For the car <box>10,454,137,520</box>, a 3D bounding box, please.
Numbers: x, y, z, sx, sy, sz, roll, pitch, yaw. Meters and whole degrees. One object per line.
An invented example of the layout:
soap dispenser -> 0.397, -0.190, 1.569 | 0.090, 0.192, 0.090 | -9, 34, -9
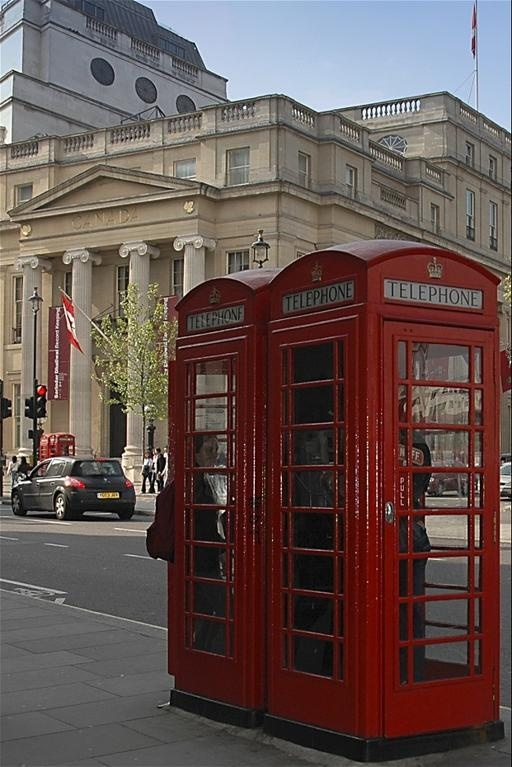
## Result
car -> -4.127, 2.274, 25.058 | 3.283, 1.326, 1.507 | -5, -9, 38

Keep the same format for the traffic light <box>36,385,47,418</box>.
traffic light -> -6.137, 0.486, 33.355 | 0.237, 0.915, 0.927 | 2, -7, -12

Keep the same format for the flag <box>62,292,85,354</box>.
flag -> -6.694, -2.191, 42.807 | 0.639, 0.289, 2.614 | 52, 0, -22

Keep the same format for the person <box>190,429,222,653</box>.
person -> -0.283, 0.904, 6.644 | 0.085, 1.220, 0.293 | 5, -7, -34
